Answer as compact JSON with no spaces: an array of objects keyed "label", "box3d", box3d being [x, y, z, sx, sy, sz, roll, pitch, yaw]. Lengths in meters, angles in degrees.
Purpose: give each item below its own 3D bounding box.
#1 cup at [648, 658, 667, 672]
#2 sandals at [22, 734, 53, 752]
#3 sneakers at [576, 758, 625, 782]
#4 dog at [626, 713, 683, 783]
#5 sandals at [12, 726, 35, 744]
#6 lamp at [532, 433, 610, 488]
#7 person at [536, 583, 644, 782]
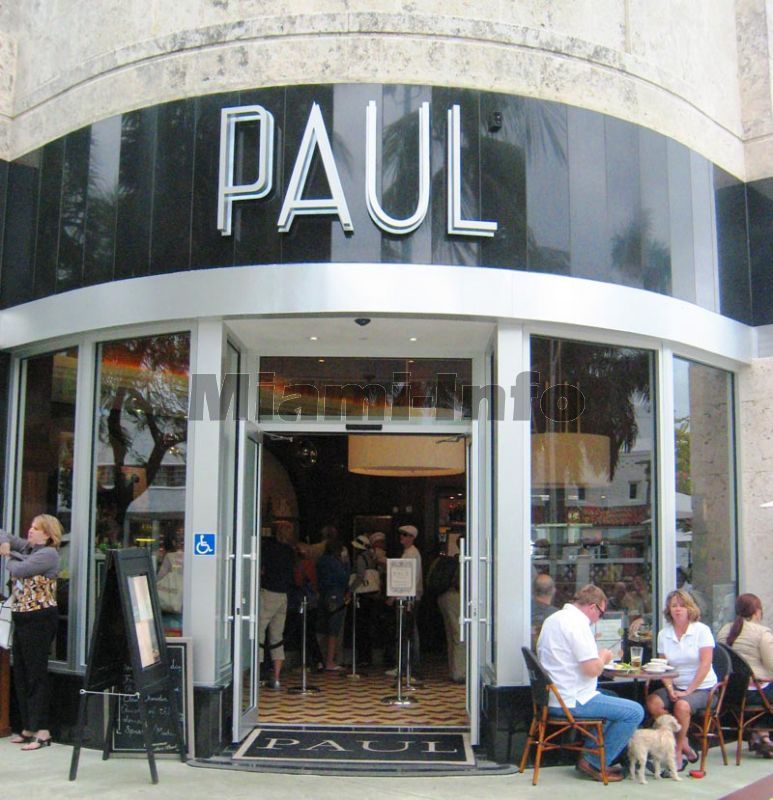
[{"label":"cup","box3d":[1.945,1.909,7.102,0.094,0.090,0.082,-1,-4,3]},{"label":"sandals","box3d":[-2.653,2.602,7.474,0.207,0.101,0.240,7,-16,-20]},{"label":"sneakers","box3d":[1.491,2.529,6.838,0.290,0.162,0.153,-1,-5,-5]},{"label":"dog","box3d":[1.868,2.421,6.875,0.334,0.445,0.551,-6,-16,28]},{"label":"sandals","box3d":[-2.785,2.583,7.575,0.092,0.082,0.267,1,-11,0]},{"label":"lamp","box3d":[1.394,0.467,7.751,0.429,0.355,0.483,1,-8,-1]},{"label":"person","box3d":[1.386,1.953,6.898,0.713,1.311,0.417,7,-14,-21]}]
